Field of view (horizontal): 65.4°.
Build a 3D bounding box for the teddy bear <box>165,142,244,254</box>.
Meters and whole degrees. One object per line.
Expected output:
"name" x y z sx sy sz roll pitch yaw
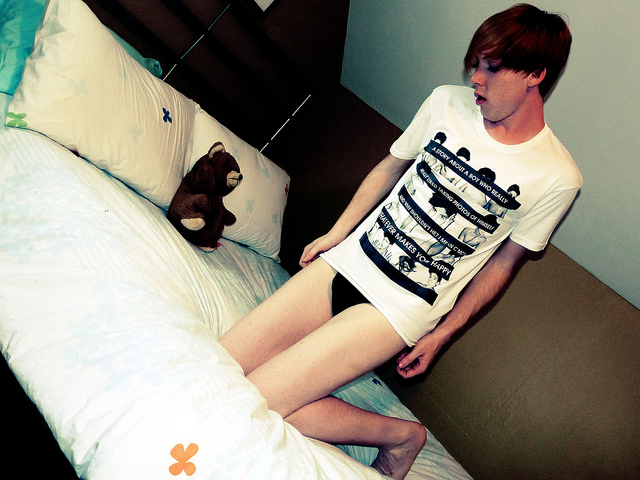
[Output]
"teddy bear" -0.451 -0.182 1.978 0.223 0.412 0.382 15 -12 3
